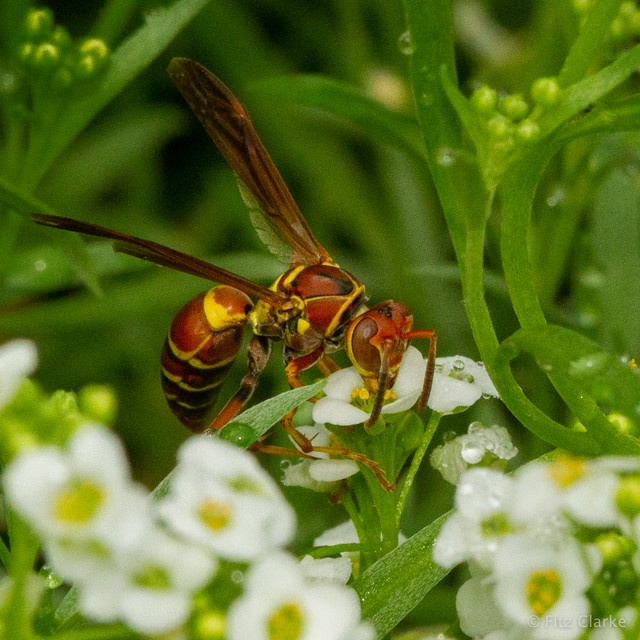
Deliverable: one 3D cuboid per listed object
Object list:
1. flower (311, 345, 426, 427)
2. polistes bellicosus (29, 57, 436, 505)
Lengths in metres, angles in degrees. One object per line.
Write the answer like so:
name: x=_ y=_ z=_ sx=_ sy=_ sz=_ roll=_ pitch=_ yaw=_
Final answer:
flower: x=0.044 y=0.065 z=0.720 sx=0.069 sy=0.020 sz=0.065 roll=-40 pitch=31 yaw=2
polistes bellicosus: x=-0.070 y=0.008 z=0.925 sx=0.451 sy=0.385 sz=0.311 roll=12 pitch=78 yaw=-4
